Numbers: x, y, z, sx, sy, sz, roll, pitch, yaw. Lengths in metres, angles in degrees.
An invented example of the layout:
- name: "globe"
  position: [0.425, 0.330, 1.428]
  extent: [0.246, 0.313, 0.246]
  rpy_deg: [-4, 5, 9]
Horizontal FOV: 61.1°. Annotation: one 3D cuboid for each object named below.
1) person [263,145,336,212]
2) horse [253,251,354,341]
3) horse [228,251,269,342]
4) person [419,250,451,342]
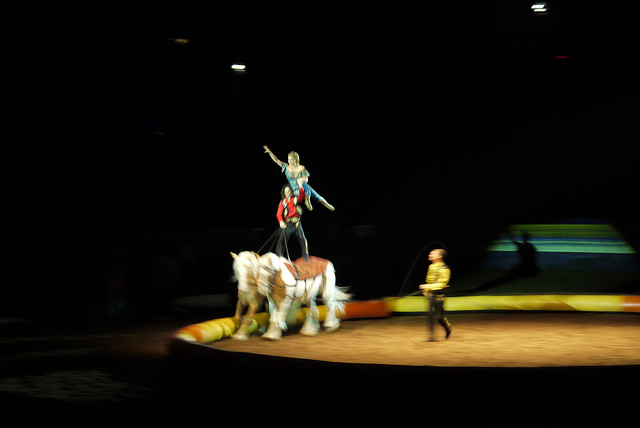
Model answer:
- name: "person"
  position: [-0.331, -0.444, 7.960]
  extent: [1.272, 0.922, 0.335]
  rpy_deg: [7, 20, 20]
- name: "horse"
  position: [-0.362, 1.191, 7.833]
  extent: [0.699, 1.138, 2.324]
  rpy_deg: [-3, -9, 40]
- name: "horse"
  position: [-1.077, 1.192, 7.942]
  extent: [0.538, 1.030, 1.811]
  rpy_deg: [4, -7, -4]
- name: "person"
  position: [1.565, 1.108, 7.312]
  extent: [0.380, 1.134, 0.621]
  rpy_deg: [1, 0, 13]
